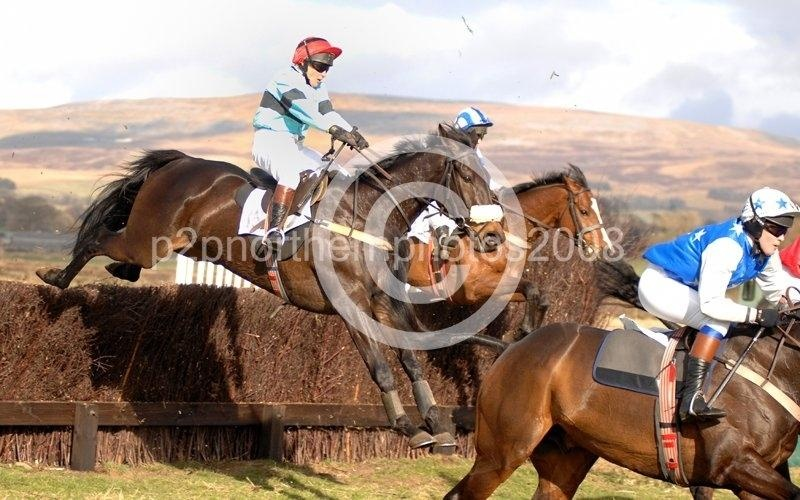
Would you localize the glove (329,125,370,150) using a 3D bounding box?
[{"bbox_3d":[-0.466,-1.019,9.688,0.407,0.200,0.255,4,8,-11],"label":"glove"}]

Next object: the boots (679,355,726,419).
[{"bbox_3d":[2.381,1.091,8.177,0.334,0.473,0.313,8,9,13],"label":"boots"}]

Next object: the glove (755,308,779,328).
[{"bbox_3d":[2.941,0.541,8.278,0.285,0.165,0.117,1,10,-33],"label":"glove"}]
